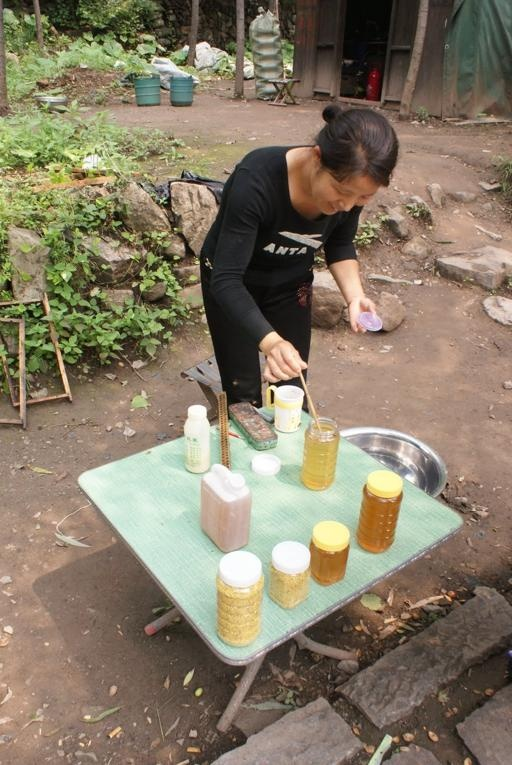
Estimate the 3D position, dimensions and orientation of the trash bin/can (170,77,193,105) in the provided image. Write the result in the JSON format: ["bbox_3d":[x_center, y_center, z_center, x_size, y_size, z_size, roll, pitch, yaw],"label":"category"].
[{"bbox_3d":[-1.276,-5.197,10.631,0.474,0.466,0.465,1,37,-2],"label":"trash bin/can"}]

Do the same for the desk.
[{"bbox_3d":[-0.090,0.473,2.162,1.119,0.721,1.115,-16,38,-38],"label":"desk"}]

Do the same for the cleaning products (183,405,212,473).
[{"bbox_3d":[-0.214,0.216,2.240,0.122,0.239,0.115,-8,24,-34],"label":"cleaning products"}]

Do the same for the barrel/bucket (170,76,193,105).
[{"bbox_3d":[-1.275,-5.277,10.642,0.483,0.473,0.472,1,34,-1],"label":"barrel/bucket"}]

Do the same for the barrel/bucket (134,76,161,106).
[{"bbox_3d":[-1.841,-5.082,10.304,0.476,0.464,0.484,1,32,0],"label":"barrel/bucket"}]

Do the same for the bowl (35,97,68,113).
[{"bbox_3d":[-2.894,-3.922,8.309,0.404,0.218,0.757,-4,23,-19],"label":"bowl"}]
